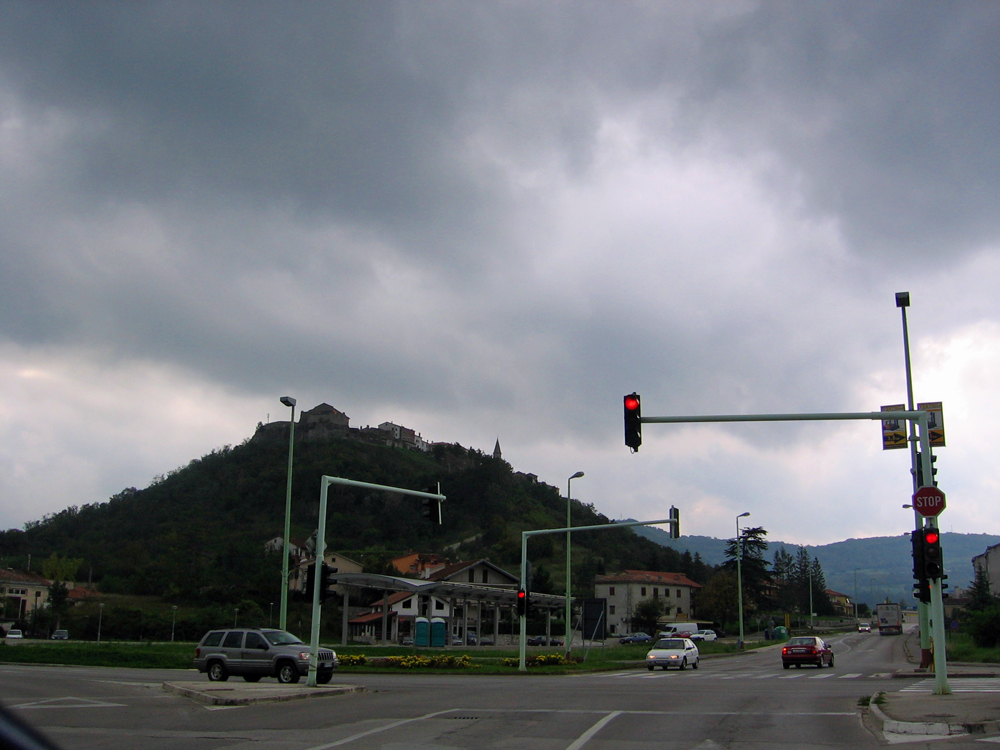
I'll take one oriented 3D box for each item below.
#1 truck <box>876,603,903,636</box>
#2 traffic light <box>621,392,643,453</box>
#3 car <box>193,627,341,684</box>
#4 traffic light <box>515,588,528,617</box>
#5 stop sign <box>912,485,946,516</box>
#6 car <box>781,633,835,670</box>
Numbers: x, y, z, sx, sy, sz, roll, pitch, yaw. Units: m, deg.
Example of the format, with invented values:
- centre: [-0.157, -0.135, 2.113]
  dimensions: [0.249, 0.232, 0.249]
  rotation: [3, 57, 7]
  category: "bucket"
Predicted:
- centre: [42.453, 26.281, 108.939]
  dimensions: [2.149, 2.222, 3.949]
  rotation: [-1, -6, 15]
  category: "truck"
- centre: [4.267, 1.607, 31.907]
  dimensions: [0.473, 1.928, 1.391]
  rotation: [-2, -20, 11]
  category: "traffic light"
- centre: [-9.754, 11.022, 39.796]
  dimensions: [4.639, 2.062, 0.968]
  rotation: [-3, -19, 10]
  category: "car"
- centre: [1.216, 11.316, 50.325]
  dimensions: [0.416, 1.383, 0.968]
  rotation: [-3, -20, 13]
  category: "traffic light"
- centre: [13.753, 4.022, 32.086]
  dimensions: [0.925, 1.027, 0.592]
  rotation: [-13, -23, 34]
  category: "stop sign"
- centre: [16.653, 14.773, 53.789]
  dimensions: [1.920, 1.956, 4.006]
  rotation: [-11, -24, 31]
  category: "car"
